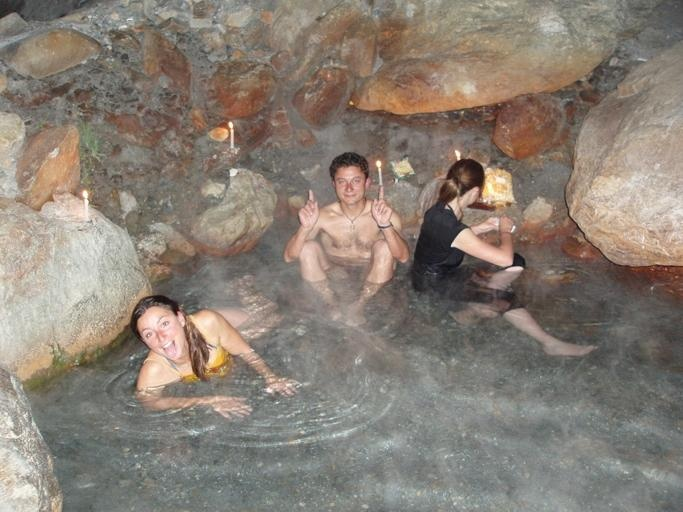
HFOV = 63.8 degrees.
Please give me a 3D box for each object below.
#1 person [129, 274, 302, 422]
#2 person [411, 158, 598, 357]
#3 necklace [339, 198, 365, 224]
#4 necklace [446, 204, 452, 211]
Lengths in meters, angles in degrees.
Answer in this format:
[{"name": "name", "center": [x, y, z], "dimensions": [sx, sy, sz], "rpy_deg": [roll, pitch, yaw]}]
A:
[{"name": "person", "center": [-1.152, 0.862, 4.613], "dimensions": [1.163, 0.755, 0.911], "rpy_deg": [4, 76, 5]}, {"name": "person", "center": [1.506, 0.079, 5.076], "dimensions": [1.847, 1.394, 0.773], "rpy_deg": [28, 40, 32]}, {"name": "necklace", "center": [0.099, -0.447, 5.857], "dimensions": [0.187, 0.274, 0.066], "rpy_deg": [0, 33, 0]}, {"name": "necklace", "center": [0.990, -0.438, 5.040], "dimensions": [0.042, 0.010, 0.043], "rpy_deg": [1, 76, -25]}]
